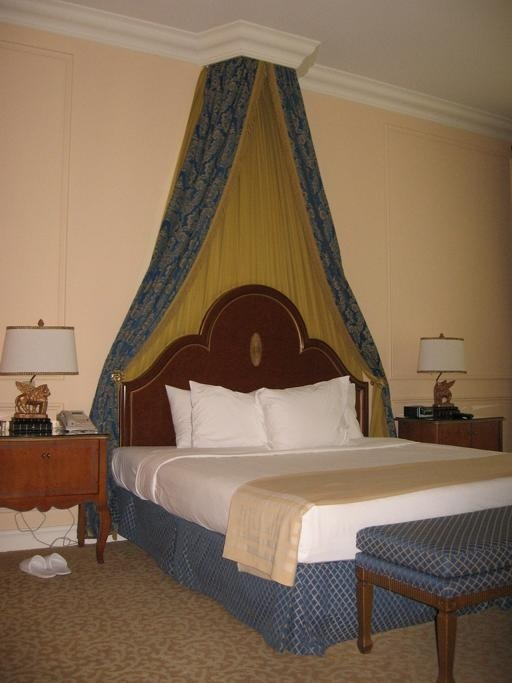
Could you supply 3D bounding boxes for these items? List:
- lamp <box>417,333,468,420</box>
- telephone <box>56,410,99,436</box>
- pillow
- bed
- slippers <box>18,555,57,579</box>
[{"bbox_3d":[1.463,0.268,4.639,0.357,0.619,0.348,-1,3,16],"label":"lamp"},{"bbox_3d":[-0.996,0.436,3.209,0.126,0.051,0.205,0,3,-32],"label":"telephone"},{"bbox_3d":[0.059,0.431,3.659,1.219,0.440,0.522,1,-7,-8],"label":"pillow"},{"bbox_3d":[0.456,0.393,3.319,1.982,1.423,1.993,-2,7,-31],"label":"bed"},{"bbox_3d":[-1.108,1.144,2.966,0.138,0.055,0.296,4,-8,-30],"label":"slippers"}]
